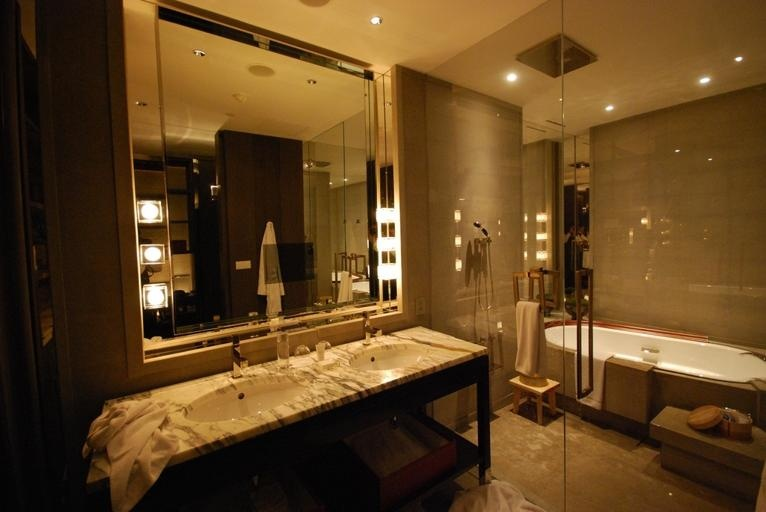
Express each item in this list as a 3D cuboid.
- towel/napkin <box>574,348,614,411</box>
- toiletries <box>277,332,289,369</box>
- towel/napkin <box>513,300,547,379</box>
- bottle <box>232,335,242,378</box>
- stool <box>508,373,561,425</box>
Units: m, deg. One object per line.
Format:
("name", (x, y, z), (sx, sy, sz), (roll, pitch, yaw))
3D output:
("towel/napkin", (1.260, 0.733, 3.263), (0.206, 0.343, 0.043), (-1, 3, 37))
("toiletries", (-0.610, 0.556, 3.319), (0.067, 0.213, 0.150), (-4, 3, -13))
("towel/napkin", (0.937, 0.528, 3.516), (0.201, 0.478, 0.024), (0, 4, 44))
("bottle", (-0.850, 0.579, 3.189), (0.061, 0.229, 0.090), (-4, 3, -17))
("stool", (0.962, 0.866, 3.495), (0.252, 0.274, 0.313), (-9, 11, -40))
